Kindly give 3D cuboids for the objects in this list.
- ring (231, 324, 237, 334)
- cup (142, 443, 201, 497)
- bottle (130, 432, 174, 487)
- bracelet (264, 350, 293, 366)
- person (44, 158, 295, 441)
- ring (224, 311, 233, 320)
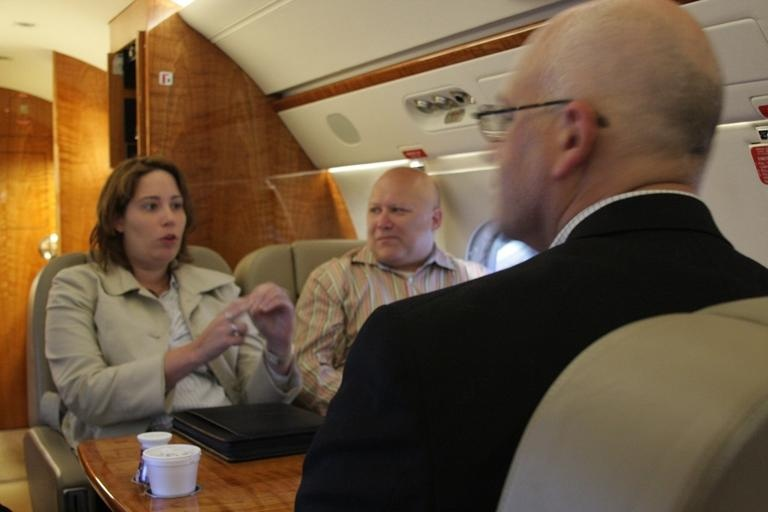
[{"bbox_3d":[-0.567,0.272,2.144,0.008,0.029,0.029,-13,31,2],"label":"ring"},{"bbox_3d":[-0.503,0.489,1.343,0.116,0.075,0.110,-2,-3,0],"label":"cup"},{"bbox_3d":[-0.605,0.514,1.455,0.097,0.110,0.099,0,-4,17],"label":"bottle"},{"bbox_3d":[-0.419,0.401,2.216,0.076,0.031,0.066,-2,6,-25],"label":"bracelet"},{"bbox_3d":[-0.918,0.245,2.485,1.025,1.391,0.845,2,-15,-23],"label":"person"},{"bbox_3d":[-0.583,0.220,2.122,0.024,0.025,0.006,15,50,-11],"label":"ring"}]
